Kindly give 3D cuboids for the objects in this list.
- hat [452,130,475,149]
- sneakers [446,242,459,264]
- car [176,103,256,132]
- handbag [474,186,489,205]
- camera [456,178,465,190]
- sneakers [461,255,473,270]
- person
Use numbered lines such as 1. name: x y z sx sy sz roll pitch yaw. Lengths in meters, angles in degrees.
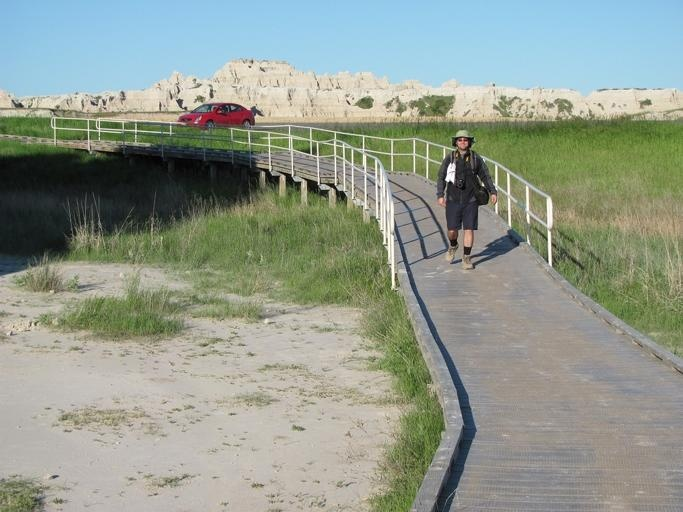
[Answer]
1. hat: 1.939 -1.875 16.049 0.317 0.254 0.513 -1 16 11
2. sneakers: 1.888 -0.093 17.144 0.124 0.402 0.149 7 -14 33
3. car: -4.645 -5.251 38.151 1.425 1.020 2.816 1 2 37
4. handbag: 2.252 -1.012 16.165 0.205 0.441 0.311 -3 8 -5
5. camera: 1.897 -1.143 15.968 0.090 0.149 0.131 0 -10 10
6. sneakers: 2.103 0.116 16.797 0.197 0.295 0.639 -1 1 1
7. person: 2.038 -0.903 16.461 0.904 2.361 0.903 -2 13 4
